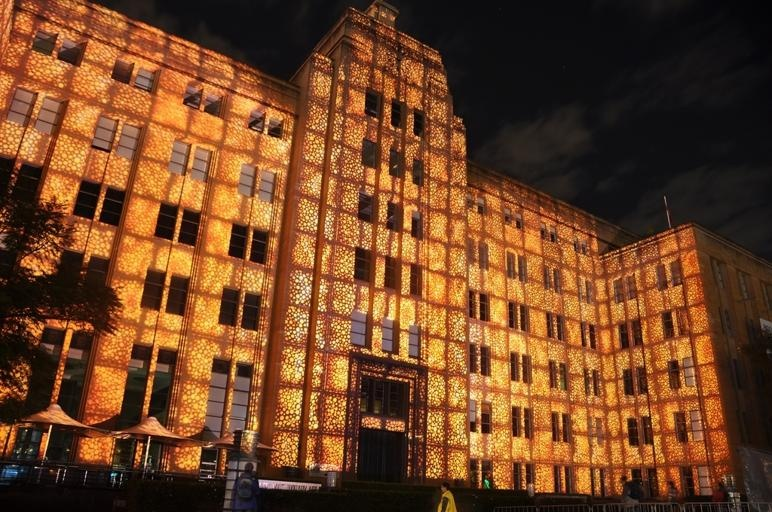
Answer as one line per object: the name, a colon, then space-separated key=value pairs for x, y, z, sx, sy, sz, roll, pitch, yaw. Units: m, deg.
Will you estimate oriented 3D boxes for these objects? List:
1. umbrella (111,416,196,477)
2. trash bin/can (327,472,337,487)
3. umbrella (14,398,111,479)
umbrella: x=-11.251 y=8.792 z=29.411 sx=3.519 sy=1.721 sz=3.369 roll=12 pitch=-37 yaw=-22
trash bin/can: x=-2.715 y=11.380 z=30.729 sx=0.519 sy=0.907 sz=0.891 roll=7 pitch=-28 yaw=-9
umbrella: x=-15.223 y=8.048 z=28.201 sx=3.866 sy=1.909 sz=3.309 roll=-5 pitch=-27 yaw=11
